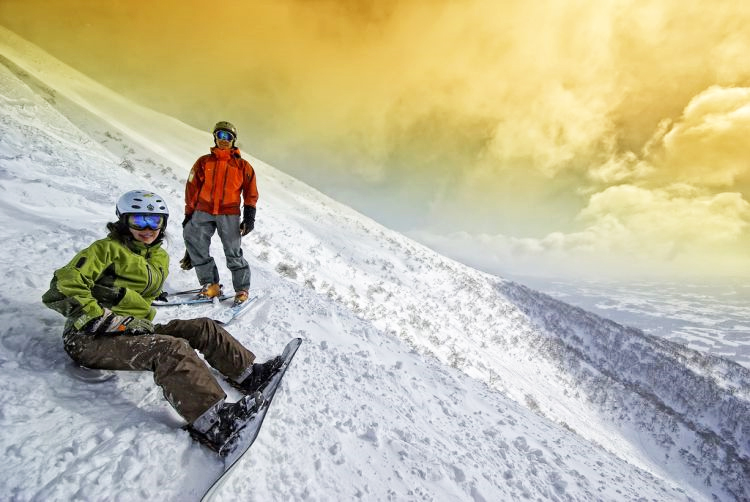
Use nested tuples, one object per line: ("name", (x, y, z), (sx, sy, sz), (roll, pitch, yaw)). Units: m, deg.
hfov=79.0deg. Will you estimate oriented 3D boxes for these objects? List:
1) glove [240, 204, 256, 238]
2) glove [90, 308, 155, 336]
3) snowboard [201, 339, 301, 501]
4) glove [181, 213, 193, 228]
("glove", (-3.260, -0.786, 11.871), (0.560, 0.700, 0.281), (8, -4, 5))
("glove", (-5.093, 1.493, 9.194), (0.802, 0.325, 0.588), (4, 7, 21))
("snowboard", (-2.575, 3.561, 9.248), (0.424, 3.790, 0.300), (31, -33, -3))
("glove", (-4.821, -0.785, 11.678), (0.124, 0.242, 0.350), (40, -44, -9))
